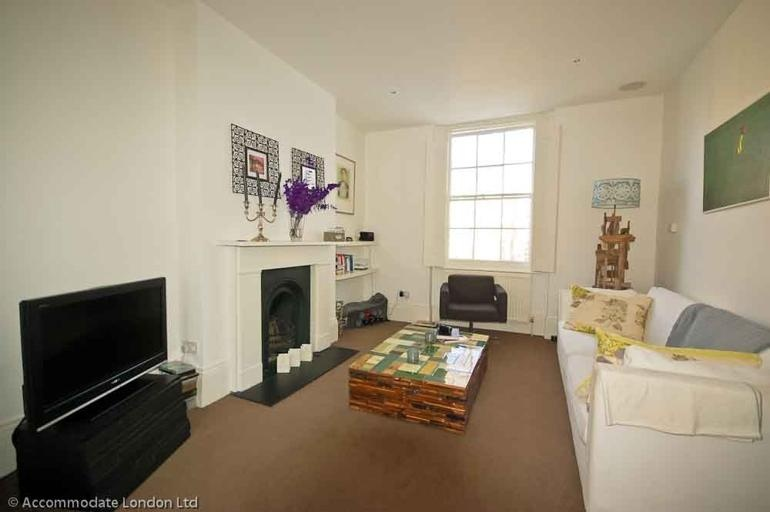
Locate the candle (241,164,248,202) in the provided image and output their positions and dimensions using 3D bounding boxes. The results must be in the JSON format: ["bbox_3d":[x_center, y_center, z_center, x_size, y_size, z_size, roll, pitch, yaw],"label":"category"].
[{"bbox_3d":[-1.412,-0.740,4.973,0.057,0.399,0.105,-1,4,-16],"label":"candle"}]

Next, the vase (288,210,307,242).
[{"bbox_3d":[-0.993,-0.337,5.537,0.273,0.431,0.262,-2,5,-24],"label":"vase"}]

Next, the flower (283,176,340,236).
[{"bbox_3d":[-0.822,-0.549,5.655,0.463,0.692,0.706,2,4,16],"label":"flower"}]

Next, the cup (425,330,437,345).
[{"bbox_3d":[0.490,0.868,5.296,0.078,0.143,0.147,-1,0,27],"label":"cup"}]

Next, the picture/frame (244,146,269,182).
[{"bbox_3d":[-1.338,-0.954,5.125,0.029,0.355,0.373,-3,-3,28],"label":"picture/frame"}]

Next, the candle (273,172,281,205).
[{"bbox_3d":[-1.169,-0.740,5.379,0.071,0.361,0.150,0,4,-4],"label":"candle"}]

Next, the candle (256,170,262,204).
[{"bbox_3d":[-1.295,-0.710,5.076,0.053,0.350,0.198,-1,4,-15],"label":"candle"}]

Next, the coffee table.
[{"bbox_3d":[0.390,1.151,5.019,1.132,0.666,1.252,2,4,18],"label":"coffee table"}]

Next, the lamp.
[{"bbox_3d":[2.672,-0.269,5.756,0.465,1.252,0.990,3,5,26],"label":"lamp"}]

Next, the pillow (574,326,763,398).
[{"bbox_3d":[2.101,0.700,3.639,0.781,0.242,0.634,0,2,0],"label":"pillow"}]

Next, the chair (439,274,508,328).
[{"bbox_3d":[1.179,0.565,6.554,0.736,0.722,0.733,0,-4,19],"label":"chair"}]

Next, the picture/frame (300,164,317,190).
[{"bbox_3d":[-0.898,-0.928,5.720,0.042,0.281,0.393,0,0,23],"label":"picture/frame"}]
